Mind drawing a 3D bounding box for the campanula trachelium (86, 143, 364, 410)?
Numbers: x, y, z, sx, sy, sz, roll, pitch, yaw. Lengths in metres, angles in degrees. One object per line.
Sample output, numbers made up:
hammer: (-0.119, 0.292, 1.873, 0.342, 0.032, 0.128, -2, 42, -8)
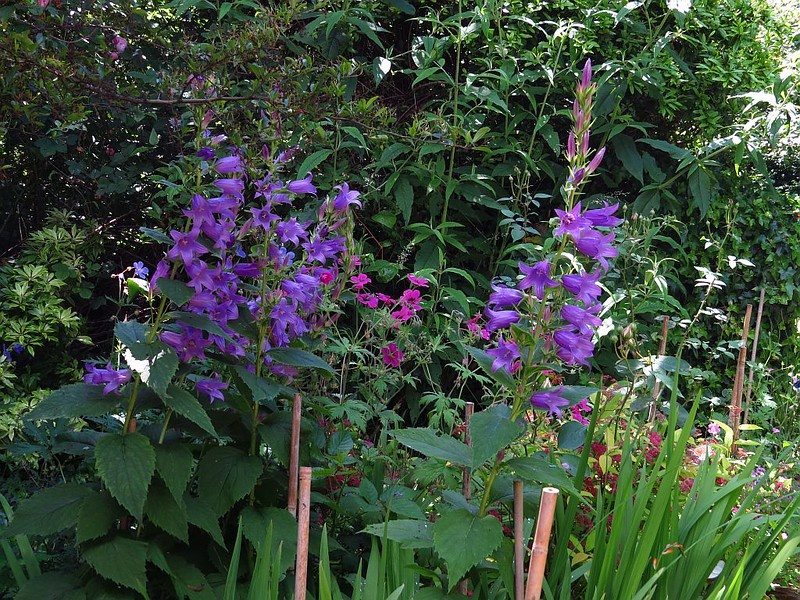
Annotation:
campanula trachelium: (-0.547, -0.106, 2.429, 0.749, 0.859, 0.910, 7, -2, -4)
